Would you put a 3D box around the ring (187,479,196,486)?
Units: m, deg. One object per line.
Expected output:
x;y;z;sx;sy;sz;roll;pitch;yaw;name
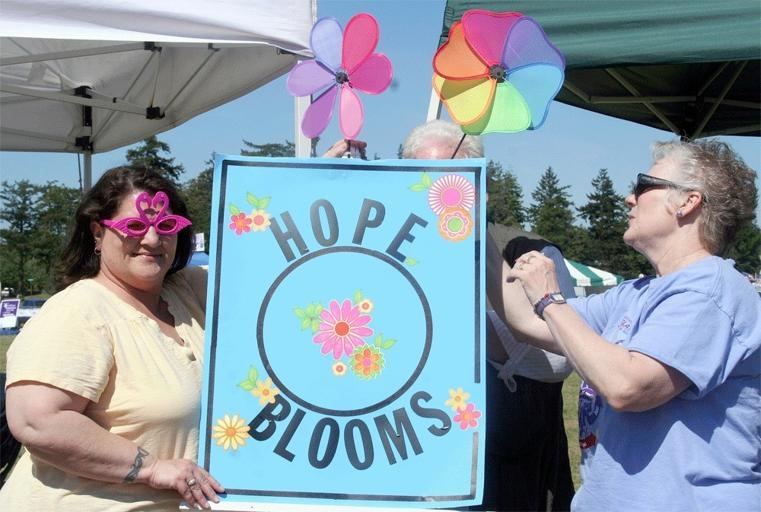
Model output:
-0.892;1.077;3.795;0.046;0.036;0.018;3;2;-9;ring
